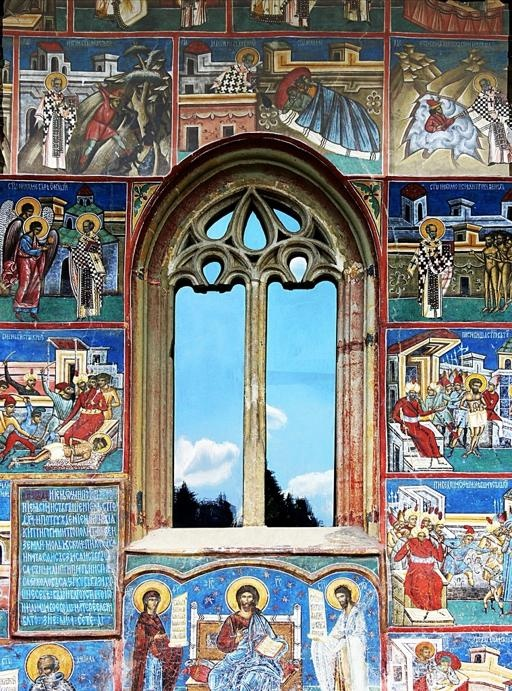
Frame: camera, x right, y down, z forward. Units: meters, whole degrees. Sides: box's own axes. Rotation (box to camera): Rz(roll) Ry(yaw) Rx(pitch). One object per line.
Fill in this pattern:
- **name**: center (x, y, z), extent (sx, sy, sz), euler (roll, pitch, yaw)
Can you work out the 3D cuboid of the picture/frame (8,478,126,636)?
- **picture/frame**: center (-1.567, 1.770, 18.561), extent (1.099, 1.634, 0.077), euler (-1, -7, 2)
